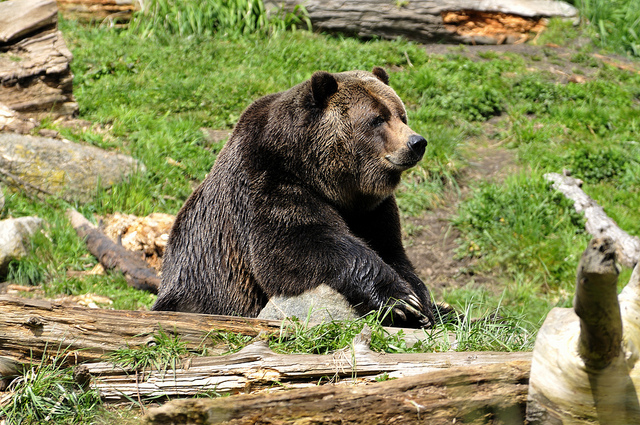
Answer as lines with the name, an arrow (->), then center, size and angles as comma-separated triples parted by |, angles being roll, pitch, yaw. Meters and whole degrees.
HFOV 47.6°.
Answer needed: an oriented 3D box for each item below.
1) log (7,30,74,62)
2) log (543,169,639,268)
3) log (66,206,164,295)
log -> -4.202, -2.534, 10.954 | 0.598, 0.154, 0.600 | 3, 24, 40
log -> 3.445, 0.114, 9.271 | 0.340, 0.546, 1.358 | -22, 68, -46
log -> -2.766, 0.573, 9.680 | 1.401, 0.653, 0.377 | 36, 27, 19
